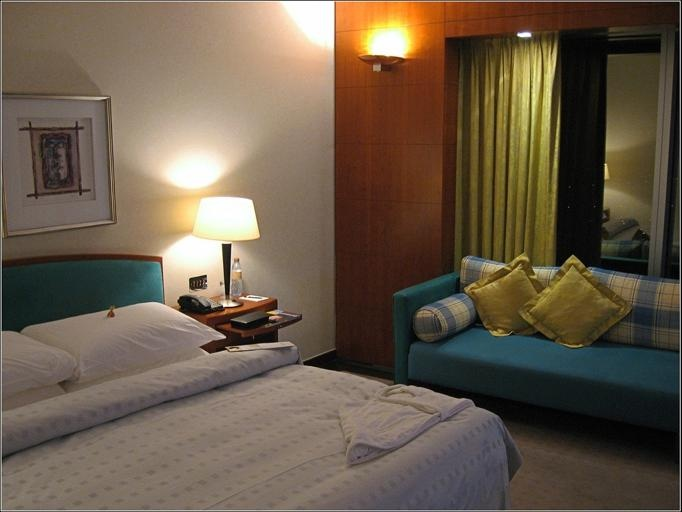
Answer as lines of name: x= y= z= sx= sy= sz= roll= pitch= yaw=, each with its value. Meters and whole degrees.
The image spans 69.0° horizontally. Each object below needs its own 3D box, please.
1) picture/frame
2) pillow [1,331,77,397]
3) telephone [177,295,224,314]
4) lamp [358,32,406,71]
picture/frame: x=-1.632 y=-0.533 z=2.825 sx=0.070 sy=0.890 sz=0.741 roll=15 pitch=21 yaw=38
pillow: x=-1.406 y=0.497 z=2.310 sx=0.274 sy=0.101 sz=0.277 roll=9 pitch=6 yaw=21
telephone: x=-0.960 y=0.310 z=3.310 sx=0.228 sy=0.082 sz=0.130 roll=2 pitch=11 yaw=20
lamp: x=0.335 y=-1.638 z=3.993 sx=0.373 sy=0.339 sz=0.348 roll=11 pitch=20 yaw=32
